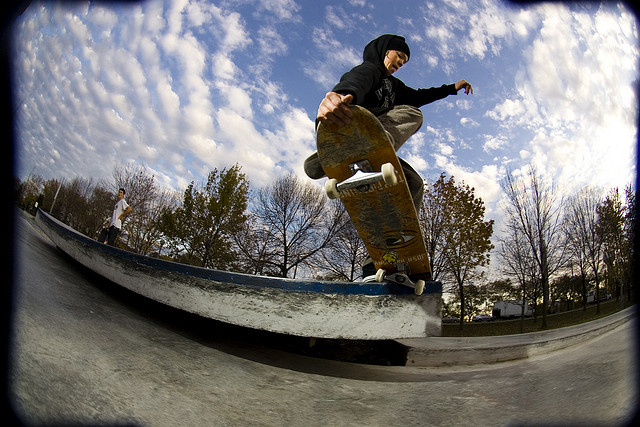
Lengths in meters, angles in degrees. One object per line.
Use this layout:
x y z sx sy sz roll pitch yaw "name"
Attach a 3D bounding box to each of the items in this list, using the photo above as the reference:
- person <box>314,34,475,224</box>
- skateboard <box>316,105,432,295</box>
0.549 -0.743 2.823 1.160 1.525 0.675 10 -15 -30 "person"
0.591 0.193 2.922 0.455 0.299 2.084 -12 -55 25 "skateboard"
